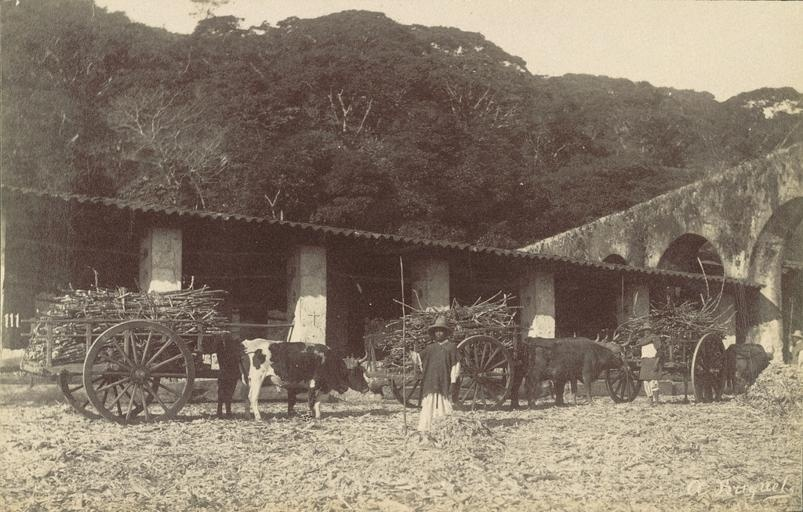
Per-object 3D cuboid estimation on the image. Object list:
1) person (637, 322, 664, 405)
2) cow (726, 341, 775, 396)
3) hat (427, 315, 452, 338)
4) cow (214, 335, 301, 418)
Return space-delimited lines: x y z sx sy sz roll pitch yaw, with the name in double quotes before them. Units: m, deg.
"person" 6.564 2.823 26.256 0.545 2.077 1.173 1 -6 13
"cow" 9.306 3.032 26.536 0.967 1.780 0.923 10 -10 -25
"hat" 0.861 1.523 21.917 0.460 0.265 0.499 2 -29 0
"cow" -3.815 2.803 23.307 1.152 1.901 1.012 4 -6 -10
